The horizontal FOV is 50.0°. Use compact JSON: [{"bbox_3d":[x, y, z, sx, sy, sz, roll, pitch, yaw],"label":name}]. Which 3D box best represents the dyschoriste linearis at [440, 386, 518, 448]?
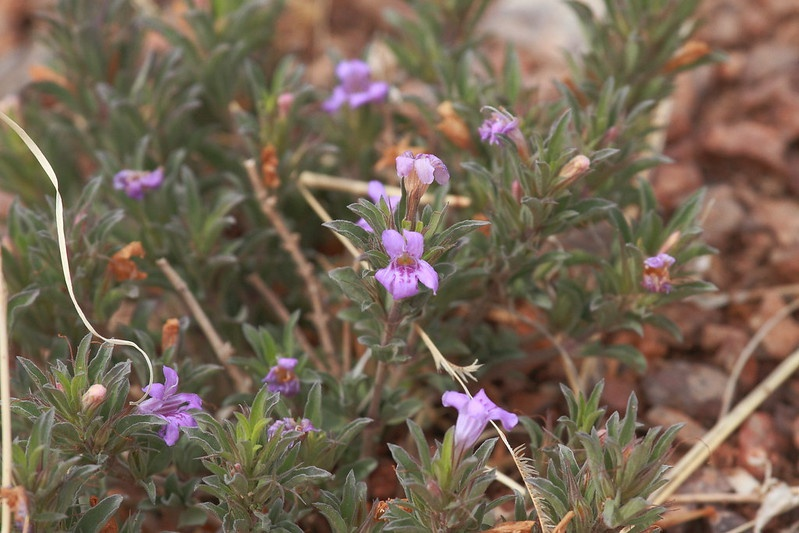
[{"bbox_3d":[0.307,0.567,3.271,0.273,0.162,0.190,3,30,-26],"label":"dyschoriste linearis"}]

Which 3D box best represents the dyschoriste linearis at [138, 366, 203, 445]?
[{"bbox_3d":[-0.861,0.528,3.389,0.220,0.313,0.246,4,17,6],"label":"dyschoriste linearis"}]

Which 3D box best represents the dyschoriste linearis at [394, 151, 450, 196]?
[{"bbox_3d":[0.087,-0.380,3.302,0.159,0.187,0.178,1,13,1],"label":"dyschoriste linearis"}]
